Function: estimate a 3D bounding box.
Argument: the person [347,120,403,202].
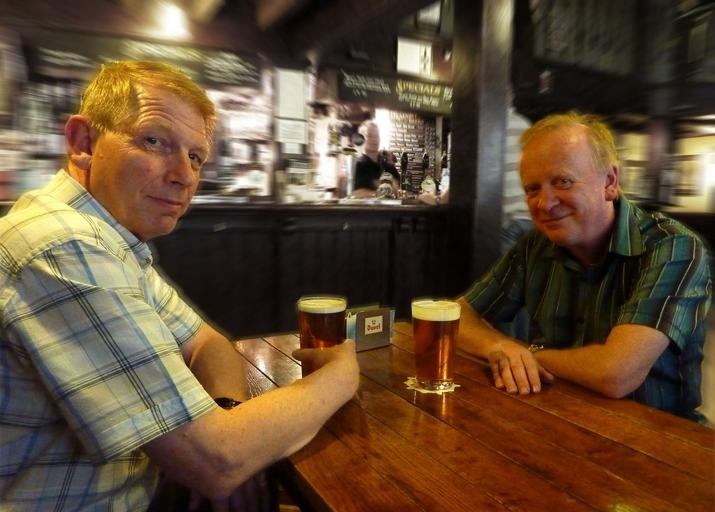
[{"bbox_3d":[0.156,-0.753,4.836,0.374,1.095,0.325,4,50,-8],"label":"person"}]

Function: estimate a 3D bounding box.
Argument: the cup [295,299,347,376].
[{"bbox_3d":[-0.096,0.235,1.614,0.210,0.308,0.209,-1,5,0],"label":"cup"}]

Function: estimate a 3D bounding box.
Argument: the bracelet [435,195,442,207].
[{"bbox_3d":[0.798,-0.541,4.914,0.054,0.069,0.075,3,-7,8],"label":"bracelet"}]
